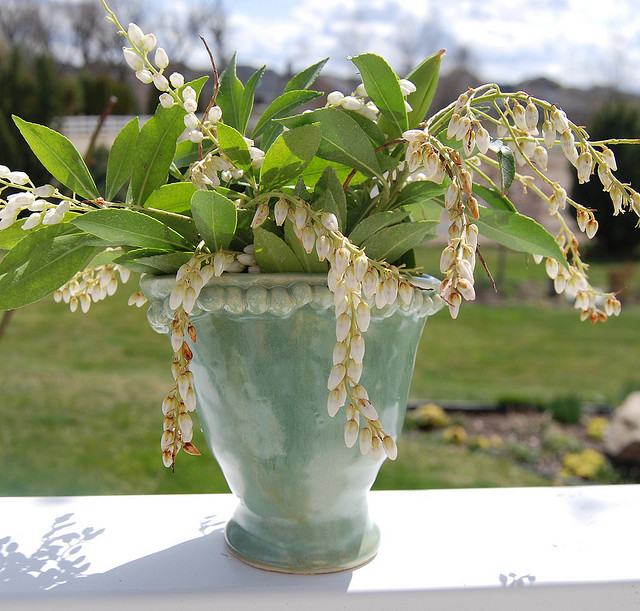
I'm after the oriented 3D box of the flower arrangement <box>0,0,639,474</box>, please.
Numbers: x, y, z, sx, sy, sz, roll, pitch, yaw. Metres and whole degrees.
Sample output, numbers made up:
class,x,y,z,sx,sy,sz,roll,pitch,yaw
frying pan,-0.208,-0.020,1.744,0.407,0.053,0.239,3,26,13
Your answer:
class,x,y,z,sx,sy,sz,roll,pitch,yaw
flower arrangement,0.084,-0.220,3.759,1.581,1.239,0.967,7,-1,17

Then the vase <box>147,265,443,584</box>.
class,x,y,z,sx,sy,sz,roll,pitch,yaw
vase,-0.050,0.276,3.801,0.881,1.020,1.091,-1,13,-1
